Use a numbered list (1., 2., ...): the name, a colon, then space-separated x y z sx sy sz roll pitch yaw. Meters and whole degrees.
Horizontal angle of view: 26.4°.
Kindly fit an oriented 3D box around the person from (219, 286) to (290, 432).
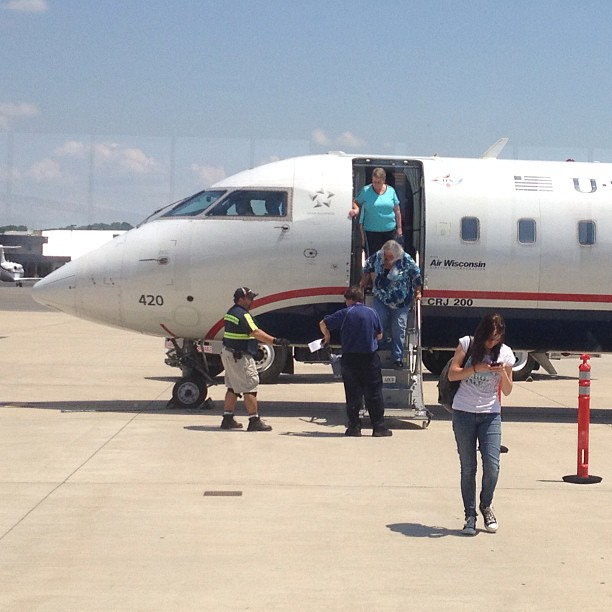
1. person: -0.707 0.659 15.828 0.673 1.710 0.396 3 10 10

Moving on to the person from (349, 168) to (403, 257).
1. person: 0.896 -1.212 16.960 0.684 1.170 0.508 2 10 2

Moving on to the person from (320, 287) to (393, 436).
1. person: 0.605 0.678 15.575 0.851 1.783 0.294 2 10 2

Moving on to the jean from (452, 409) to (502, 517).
1. jean: 1.538 1.447 11.932 0.436 0.972 0.370 2 10 5

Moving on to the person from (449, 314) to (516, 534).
1. person: 1.577 1.079 11.893 0.583 1.992 0.469 2 10 4

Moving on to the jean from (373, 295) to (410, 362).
1. jean: 1.068 0.260 16.500 0.448 0.807 0.621 3 10 7
